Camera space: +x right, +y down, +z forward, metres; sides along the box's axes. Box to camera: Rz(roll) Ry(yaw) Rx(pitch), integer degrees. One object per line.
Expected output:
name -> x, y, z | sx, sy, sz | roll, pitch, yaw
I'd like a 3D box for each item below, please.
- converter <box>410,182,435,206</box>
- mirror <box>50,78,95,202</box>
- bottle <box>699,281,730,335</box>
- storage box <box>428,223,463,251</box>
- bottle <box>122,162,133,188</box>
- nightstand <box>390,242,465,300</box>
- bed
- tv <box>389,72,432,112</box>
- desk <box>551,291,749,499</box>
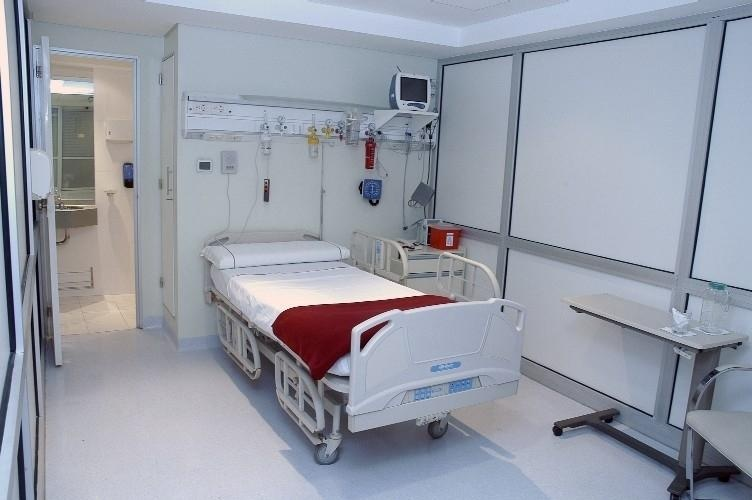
converter -> 0.547, -0.642, 5.737 | 0.278, 0.294, 0.176 | -8, 16, -27
mirror -> -3.718, -1.312, 6.063 | 0.558, 1.489, 0.174 | -9, 17, -30
bottle -> 2.375, 0.398, 3.443 | 0.165, 0.333, 0.357 | 10, 18, 36
storage box -> 0.750, -0.141, 5.357 | 0.259, 0.218, 0.343 | 0, 7, -21
bottle -> -3.135, -0.933, 6.195 | 0.149, 0.333, 0.097 | -3, 15, -10
nightstand -> 0.680, 0.319, 5.233 | 0.657, 0.592, 0.403 | -4, -18, 38
bed -> -0.377, 0.496, 4.204 | 1.594, 1.237, 2.687 | -4, 11, -29
tv -> 0.340, -1.647, 5.229 | 0.439, 0.367, 0.237 | -5, 9, -30
desk -> 2.063, 1.085, 3.630 | 0.625, 1.083, 1.167 | -7, 13, -25
